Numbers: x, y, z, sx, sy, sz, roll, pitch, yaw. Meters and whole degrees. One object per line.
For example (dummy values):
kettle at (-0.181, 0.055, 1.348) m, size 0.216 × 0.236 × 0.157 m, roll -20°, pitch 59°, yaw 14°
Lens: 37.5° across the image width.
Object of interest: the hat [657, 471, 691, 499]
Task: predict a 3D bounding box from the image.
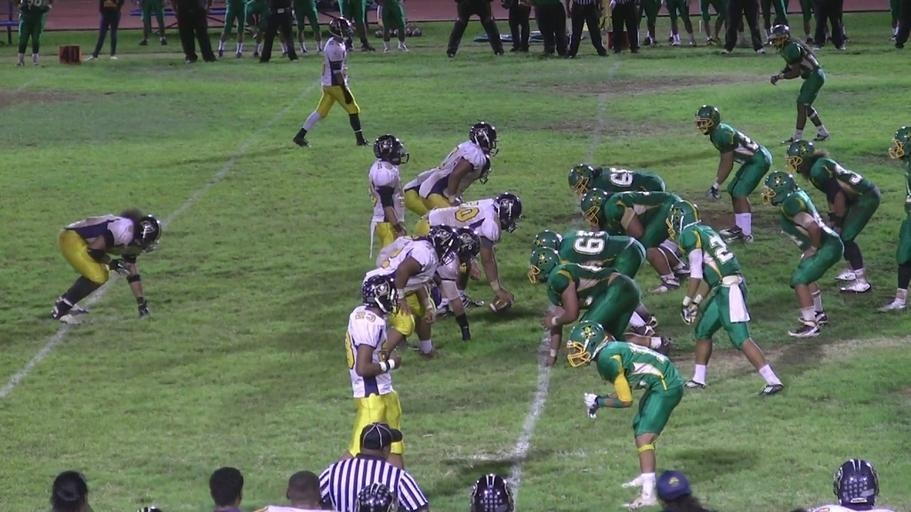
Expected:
hat at (3.336, 3.500, 20.645) m, size 0.517 × 0.428 × 0.239 m, roll -1°, pitch 7°, yaw 5°

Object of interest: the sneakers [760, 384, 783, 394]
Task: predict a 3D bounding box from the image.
sneakers at (5.159, 2.190, 22.063) m, size 0.435 × 0.141 × 0.189 m, roll 3°, pitch 51°, yaw 1°

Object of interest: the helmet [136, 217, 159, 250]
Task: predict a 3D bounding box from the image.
helmet at (-5.374, -0.380, 23.504) m, size 0.425 × 0.598 × 0.208 m, roll -3°, pitch 7°, yaw -13°

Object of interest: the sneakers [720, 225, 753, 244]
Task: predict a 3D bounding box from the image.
sneakers at (5.292, -0.386, 25.507) m, size 0.576 × 0.208 × 0.293 m, roll 5°, pitch 0°, yaw -6°

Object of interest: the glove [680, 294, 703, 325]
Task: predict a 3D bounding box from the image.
glove at (3.969, 0.830, 22.540) m, size 0.253 × 0.276 × 0.680 m, roll 14°, pitch 42°, yaw 5°

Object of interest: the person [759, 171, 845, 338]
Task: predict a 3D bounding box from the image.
person at (5.956, -0.005, 23.250) m, size 1.117 × 2.820 × 0.670 m, roll 4°, pitch 9°, yaw 44°

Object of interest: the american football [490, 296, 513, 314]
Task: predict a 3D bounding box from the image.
american football at (0.795, 0.903, 24.094) m, size 0.431 × 0.260 × 0.348 m, roll -8°, pitch 9°, yaw -27°

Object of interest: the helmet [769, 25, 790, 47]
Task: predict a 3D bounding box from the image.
helmet at (6.565, -4.474, 27.556) m, size 0.531 × 0.421 × 0.376 m, roll -8°, pitch 21°, yaw 3°
